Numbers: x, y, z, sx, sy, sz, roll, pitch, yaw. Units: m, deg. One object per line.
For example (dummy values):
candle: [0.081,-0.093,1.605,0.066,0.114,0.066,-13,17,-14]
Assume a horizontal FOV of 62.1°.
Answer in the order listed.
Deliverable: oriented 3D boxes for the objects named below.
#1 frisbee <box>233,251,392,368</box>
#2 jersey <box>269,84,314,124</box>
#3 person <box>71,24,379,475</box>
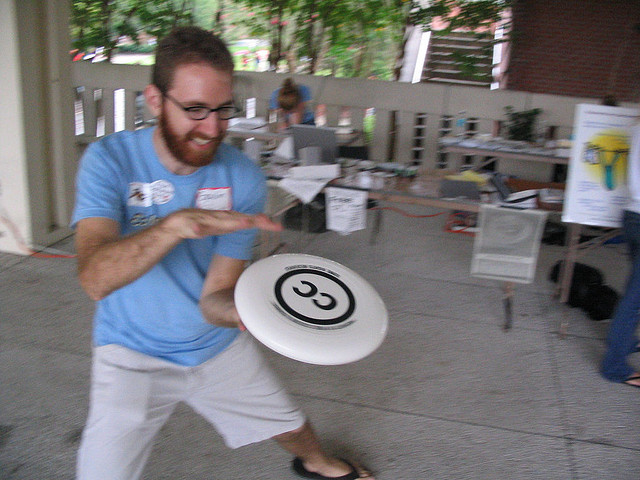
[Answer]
frisbee: [-0.038,0.289,2.211,0.769,0.127,0.607,-5,32,-30]
jersey: [-0.348,-1.656,6.411,0.496,0.413,0.941,1,19,-6]
person: [-0.508,0.294,2.331,1.057,2.364,1.021,4,27,-2]
